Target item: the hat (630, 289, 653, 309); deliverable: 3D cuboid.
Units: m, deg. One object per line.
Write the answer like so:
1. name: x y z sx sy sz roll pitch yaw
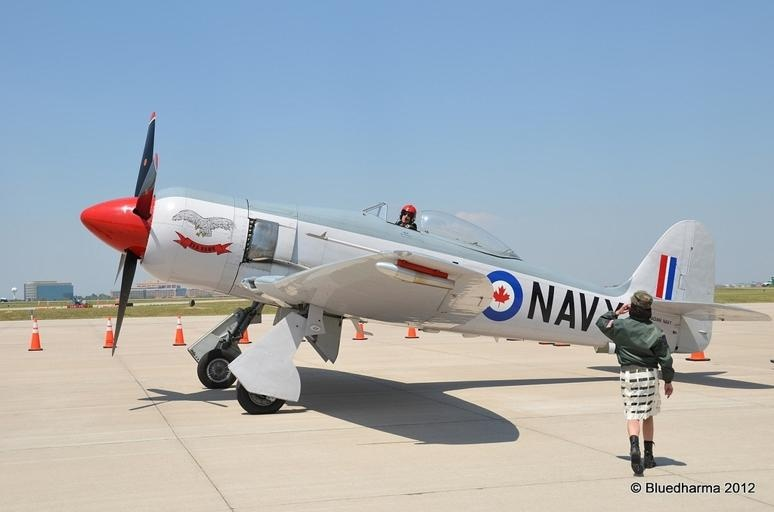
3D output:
1. hat: 2.935 0.493 7.584 0.269 0.090 0.269 4 7 2

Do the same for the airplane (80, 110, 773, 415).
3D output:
1. airplane: 0.647 0.355 10.288 8.779 2.004 7.361 3 -3 -15

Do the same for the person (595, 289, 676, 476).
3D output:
1. person: 2.813 1.420 7.460 0.788 2.049 0.425 2 0 13

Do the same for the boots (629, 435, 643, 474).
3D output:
1. boots: 2.811 2.219 7.400 0.162 0.439 0.315 2 0 18
